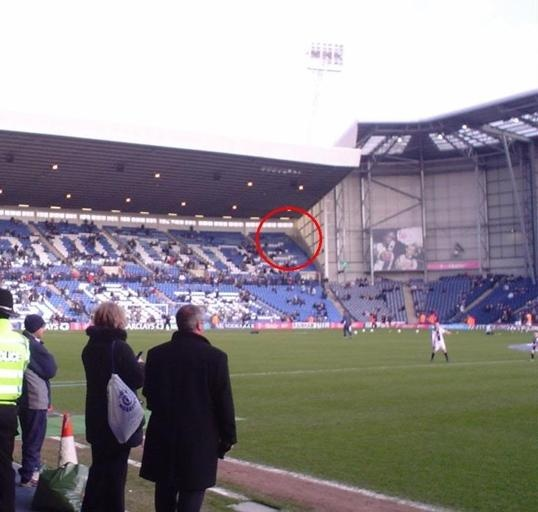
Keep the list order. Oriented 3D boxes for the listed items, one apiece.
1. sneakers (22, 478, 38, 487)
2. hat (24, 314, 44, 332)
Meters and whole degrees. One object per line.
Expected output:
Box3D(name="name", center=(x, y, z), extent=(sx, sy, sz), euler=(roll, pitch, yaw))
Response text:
Box3D(name="sneakers", center=(-3.111, 2.934, 10.807), extent=(0.243, 0.118, 0.084), euler=(1, 2, -3))
Box3D(name="hat", center=(-3.073, 0.877, 11.004), extent=(0.219, 0.220, 0.241), euler=(0, 14, 16))
